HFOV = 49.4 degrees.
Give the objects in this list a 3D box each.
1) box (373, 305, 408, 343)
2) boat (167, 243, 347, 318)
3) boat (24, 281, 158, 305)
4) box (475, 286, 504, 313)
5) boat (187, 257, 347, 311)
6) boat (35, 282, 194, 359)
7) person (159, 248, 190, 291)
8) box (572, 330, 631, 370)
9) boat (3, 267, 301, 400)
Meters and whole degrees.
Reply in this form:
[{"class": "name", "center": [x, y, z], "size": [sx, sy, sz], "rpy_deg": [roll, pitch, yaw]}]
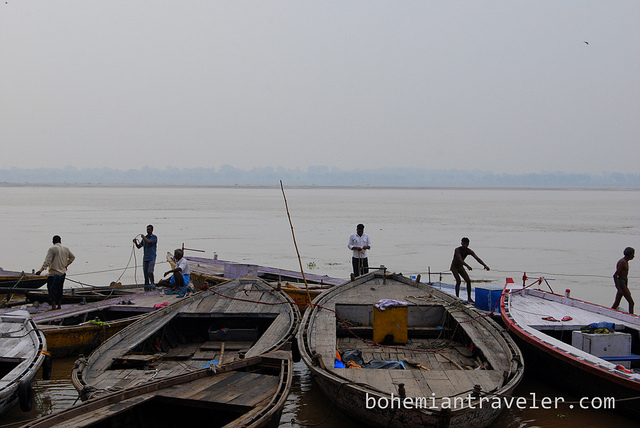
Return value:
[{"class": "box", "center": [1.947, 3.083, 19.734], "size": [1.021, 0.946, 1.011], "rpy_deg": [0, 2, 13]}, {"class": "boat", "center": [-3.012, 3.042, 26.636], "size": [2.538, 1.914, 9.363], "rpy_deg": [-3, 4, -43]}, {"class": "boat", "center": [-7.915, 2.784, 24.210], "size": [1.510, 0.644, 4.293], "rpy_deg": [3, -1, 33]}, {"class": "box", "center": [5.421, 2.731, 22.170], "size": [0.956, 0.672, 0.936], "rpy_deg": [0, 2, -6]}, {"class": "boat", "center": [-2.492, 2.982, 26.271], "size": [7.932, 1.279, 2.084], "rpy_deg": [2, 2, 45]}, {"class": "boat", "center": [-6.206, 3.213, 21.863], "size": [1.402, 0.885, 5.220], "rpy_deg": [13, 10, 20]}, {"class": "person", "center": [-5.445, 2.113, 25.835], "size": [1.006, 1.523, 0.902], "rpy_deg": [10, -31, -19]}, {"class": "box", "center": [7.507, 3.732, 18.677], "size": [1.042, 0.998, 1.054], "rpy_deg": [0, -1, -6]}, {"class": "boat", "center": [-4.105, 3.463, 19.368], "size": [3.797, 1.101, 5.486], "rpy_deg": [20, 15, 29]}]
